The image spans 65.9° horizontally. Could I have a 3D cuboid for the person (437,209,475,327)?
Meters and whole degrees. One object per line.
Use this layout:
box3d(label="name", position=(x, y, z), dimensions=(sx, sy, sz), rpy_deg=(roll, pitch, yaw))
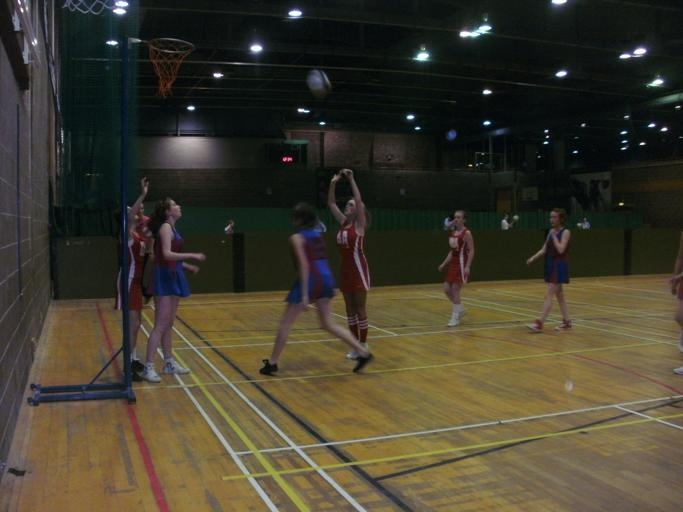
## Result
box3d(label="person", position=(1.871, 0.194, 8.750), dimensions=(0.537, 1.909, 1.455), rpy_deg=(2, 6, 11))

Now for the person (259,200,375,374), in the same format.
box3d(label="person", position=(-0.281, 0.370, 5.622), dimensions=(1.170, 1.856, 0.916), rpy_deg=(-1, 7, -10))

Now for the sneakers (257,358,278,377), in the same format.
box3d(label="sneakers", position=(-0.822, 1.199, 5.774), dimensions=(0.288, 0.226, 0.104), rpy_deg=(-1, -1, 12))

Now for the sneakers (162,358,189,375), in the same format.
box3d(label="sneakers", position=(-1.750, 1.196, 5.791), dimensions=(0.368, 0.241, 0.127), rpy_deg=(0, -1, -13))

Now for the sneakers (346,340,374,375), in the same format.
box3d(label="sneakers", position=(0.212, 1.140, 6.003), dimensions=(0.420, 0.305, 0.148), rpy_deg=(-19, 9, 45))

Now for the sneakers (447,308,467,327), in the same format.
box3d(label="sneakers", position=(1.822, 0.988, 8.669), dimensions=(0.494, 0.235, 0.154), rpy_deg=(-12, 13, -42))
